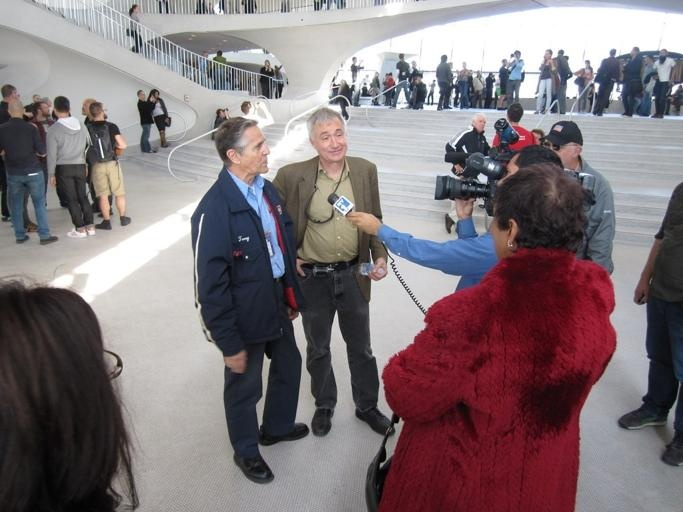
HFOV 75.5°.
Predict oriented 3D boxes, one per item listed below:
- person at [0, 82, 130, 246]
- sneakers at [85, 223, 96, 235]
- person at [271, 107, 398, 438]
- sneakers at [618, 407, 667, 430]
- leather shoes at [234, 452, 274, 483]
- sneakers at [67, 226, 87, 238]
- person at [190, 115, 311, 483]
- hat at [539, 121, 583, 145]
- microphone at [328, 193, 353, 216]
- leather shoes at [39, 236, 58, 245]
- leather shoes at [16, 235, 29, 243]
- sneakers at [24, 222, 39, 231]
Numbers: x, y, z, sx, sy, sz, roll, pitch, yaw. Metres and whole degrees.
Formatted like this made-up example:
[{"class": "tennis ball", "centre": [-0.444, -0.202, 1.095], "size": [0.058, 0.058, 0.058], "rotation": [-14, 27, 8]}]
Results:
[{"class": "person", "centre": [-3.716, -1.151, 5.846], "size": [1.349, 1.816, 0.591], "rotation": [-11, 21, -28]}, {"class": "sneakers", "centre": [-3.541, -0.379, 6.147], "size": [0.137, 0.155, 0.352], "rotation": [-3, 5, -30]}, {"class": "person", "centre": [-0.099, 0.156, 2.673], "size": [0.806, 2.020, 0.626], "rotation": [-2, 11, -1]}, {"class": "sneakers", "centre": [1.878, 1.021, 2.833], "size": [0.344, 0.144, 0.121], "rotation": [-1, 23, 3]}, {"class": "leather shoes", "centre": [-0.507, 1.135, 2.465], "size": [0.252, 0.119, 0.105], "rotation": [9, 13, 33]}, {"class": "sneakers", "centre": [-3.697, -0.335, 6.104], "size": [0.257, 0.114, 0.123], "rotation": [5, 7, 8]}, {"class": "person", "centre": [-0.483, 0.240, 2.377], "size": [0.432, 1.875, 0.662], "rotation": [8, 20, 23]}, {"class": "hat", "centre": [1.504, -0.825, 3.018], "size": [0.220, 0.134, 0.161], "rotation": [5, 23, -9]}, {"class": "microphone", "centre": [-0.016, -0.274, 2.368], "size": [0.073, 0.077, 0.141], "rotation": [-37, 46, -17]}, {"class": "leather shoes", "centre": [-3.878, -0.211, 5.792], "size": [0.191, 0.085, 0.065], "rotation": [-14, 15, -32]}, {"class": "leather shoes", "centre": [-4.196, -0.224, 5.778], "size": [0.153, 0.063, 0.052], "rotation": [-24, 13, -15]}, {"class": "sneakers", "centre": [-4.397, -0.407, 6.213], "size": [0.167, 0.073, 0.085], "rotation": [1, 7, -23]}]
